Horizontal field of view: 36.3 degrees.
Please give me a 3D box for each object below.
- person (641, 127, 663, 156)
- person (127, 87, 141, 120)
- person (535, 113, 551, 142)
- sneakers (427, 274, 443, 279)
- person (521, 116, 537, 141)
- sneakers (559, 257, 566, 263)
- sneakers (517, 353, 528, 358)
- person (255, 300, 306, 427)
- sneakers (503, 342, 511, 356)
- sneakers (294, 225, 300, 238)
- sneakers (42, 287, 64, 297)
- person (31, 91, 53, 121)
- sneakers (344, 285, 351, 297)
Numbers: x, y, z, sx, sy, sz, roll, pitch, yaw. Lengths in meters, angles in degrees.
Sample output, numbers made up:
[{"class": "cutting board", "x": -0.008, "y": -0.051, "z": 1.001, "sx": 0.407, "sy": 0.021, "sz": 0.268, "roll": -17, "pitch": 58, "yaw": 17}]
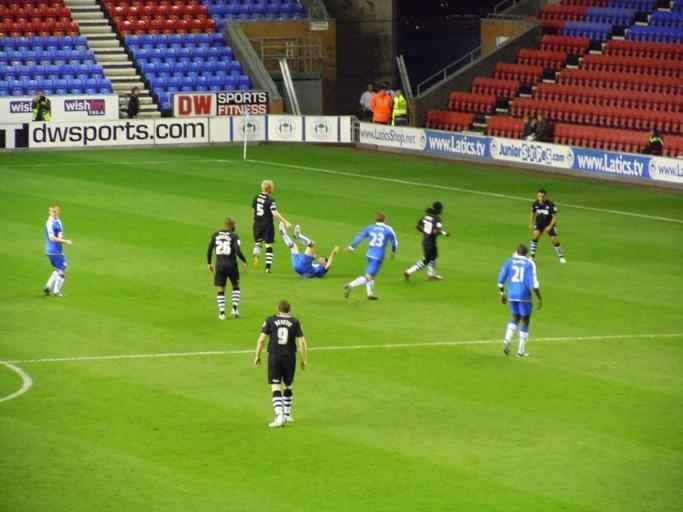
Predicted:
[{"class": "person", "x": 11.149, "y": -4.059, "z": 37.157, "sx": 0.627, "sy": 0.918, "sz": 0.949, "roll": 3, "pitch": 6, "yaw": 12}, {"class": "person", "x": -8.552, "y": -6.261, "z": 42.674, "sx": 0.432, "sy": 1.302, "sz": 2.307, "roll": 0, "pitch": 6, "yaw": -13}, {"class": "person", "x": 7.846, "y": -4.972, "z": 40.490, "sx": 0.548, "sy": 1.057, "sz": 1.788, "roll": 3, "pitch": 6, "yaw": 11}, {"class": "sneakers", "x": 2.361, "y": 0.514, "z": 26.100, "sx": 0.371, "sy": 0.155, "sz": 0.136, "roll": -6, "pitch": 28, "yaw": -22}, {"class": "person", "x": 7.360, "y": -4.969, "z": 40.696, "sx": 0.508, "sy": 0.888, "sz": 1.667, "roll": 3, "pitch": 6, "yaw": 9}, {"class": "sneakers", "x": 5.906, "y": 0.084, "z": 27.650, "sx": 0.194, "sy": 0.183, "sz": 0.349, "roll": 3, "pitch": 6, "yaw": 12}, {"class": "sneakers", "x": 3.659, "y": 1.960, "z": 20.901, "sx": 0.233, "sy": 0.108, "sz": 0.079, "roll": -5, "pitch": 12, "yaw": -27}, {"class": "person", "x": -1.024, "y": 1.795, "z": 17.535, "sx": 0.818, "sy": 2.188, "sz": 0.837, "roll": 1, "pitch": 5, "yaw": -3}, {"class": "sneakers", "x": 3.296, "y": 1.834, "z": 20.701, "sx": 0.108, "sy": 0.346, "sz": 0.154, "roll": -1, "pitch": 28, "yaw": 4}, {"class": "sneakers", "x": -1.115, "y": -0.628, "z": 25.722, "sx": 0.123, "sy": 0.390, "sz": 0.156, "roll": 2, "pitch": 3, "yaw": 3}, {"class": "sneakers", "x": -6.638, "y": 0.824, "z": 23.965, "sx": 0.505, "sy": 0.227, "sz": 0.173, "roll": 5, "pitch": 7, "yaw": -18}, {"class": "person", "x": -11.843, "y": -5.902, "z": 41.120, "sx": 0.592, "sy": 1.183, "sz": 1.306, "roll": 2, "pitch": 5, "yaw": 1}, {"class": "sneakers", "x": 0.128, "y": 0.777, "z": 23.599, "sx": 0.112, "sy": 0.301, "sz": 0.141, "roll": 8, "pitch": -1, "yaw": 8}]
